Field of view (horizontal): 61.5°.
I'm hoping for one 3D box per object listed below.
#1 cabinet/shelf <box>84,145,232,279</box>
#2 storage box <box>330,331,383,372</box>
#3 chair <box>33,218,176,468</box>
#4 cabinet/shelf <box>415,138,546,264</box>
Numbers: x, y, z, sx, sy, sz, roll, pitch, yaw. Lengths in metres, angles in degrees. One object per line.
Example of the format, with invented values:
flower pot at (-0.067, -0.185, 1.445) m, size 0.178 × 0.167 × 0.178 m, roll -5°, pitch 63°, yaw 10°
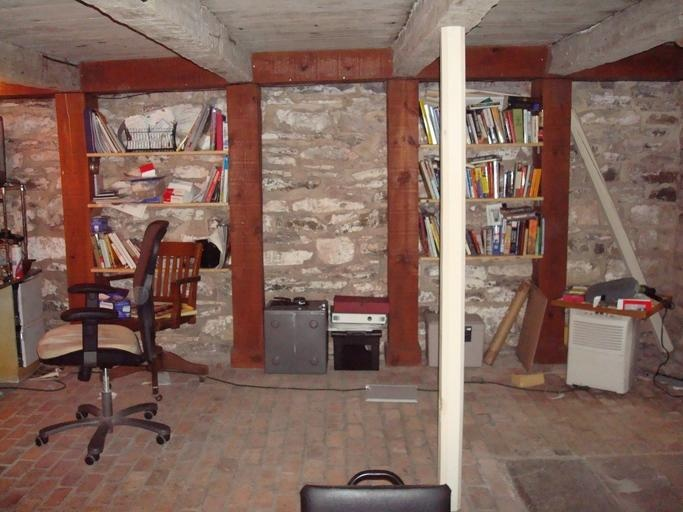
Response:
cabinet/shelf at (-1.699, -0.432, 5.343) m, size 1.457 × 1.029 × 0.445 m, roll 0°, pitch 2°, yaw 1°
storage box at (0.163, 0.824, 5.340) m, size 0.502 × 0.372 × 0.383 m, roll 1°, pitch 8°, yaw 3°
chair at (-1.713, 0.587, 4.297) m, size 0.901 × 1.698 × 0.834 m, roll 1°, pitch 4°, yaw 22°
cabinet/shelf at (1.205, -0.484, 4.799) m, size 1.324 × 0.924 × 0.397 m, roll 0°, pitch 9°, yaw 3°
